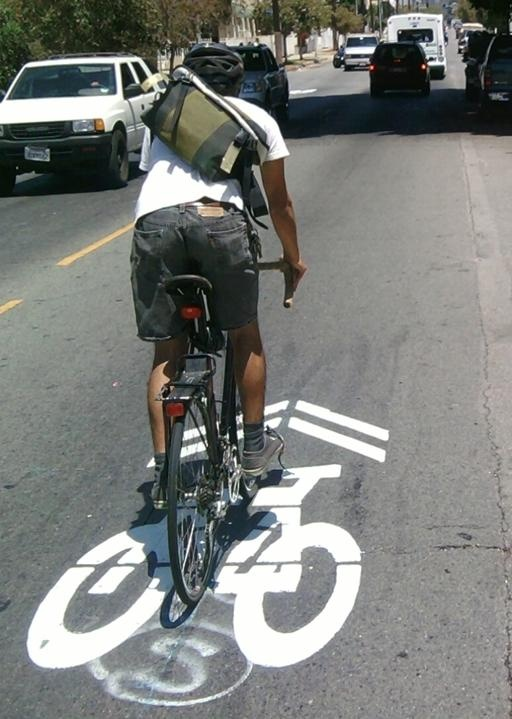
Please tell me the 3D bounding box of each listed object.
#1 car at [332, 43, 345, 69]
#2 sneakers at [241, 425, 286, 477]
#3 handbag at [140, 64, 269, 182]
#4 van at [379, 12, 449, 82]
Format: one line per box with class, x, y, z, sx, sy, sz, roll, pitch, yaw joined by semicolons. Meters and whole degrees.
car;6.807;-24.893;51.534;1.064;0.925;2.501;-2;20;3
sneakers;0.032;0.352;2.608;0.098;0.136;0.314;3;23;28
handbag;-0.205;-0.776;2.074;0.393;0.344;0.189;12;26;29
van;9.634;-18.748;37.830;3.382;3.584;6.472;-2;22;14
